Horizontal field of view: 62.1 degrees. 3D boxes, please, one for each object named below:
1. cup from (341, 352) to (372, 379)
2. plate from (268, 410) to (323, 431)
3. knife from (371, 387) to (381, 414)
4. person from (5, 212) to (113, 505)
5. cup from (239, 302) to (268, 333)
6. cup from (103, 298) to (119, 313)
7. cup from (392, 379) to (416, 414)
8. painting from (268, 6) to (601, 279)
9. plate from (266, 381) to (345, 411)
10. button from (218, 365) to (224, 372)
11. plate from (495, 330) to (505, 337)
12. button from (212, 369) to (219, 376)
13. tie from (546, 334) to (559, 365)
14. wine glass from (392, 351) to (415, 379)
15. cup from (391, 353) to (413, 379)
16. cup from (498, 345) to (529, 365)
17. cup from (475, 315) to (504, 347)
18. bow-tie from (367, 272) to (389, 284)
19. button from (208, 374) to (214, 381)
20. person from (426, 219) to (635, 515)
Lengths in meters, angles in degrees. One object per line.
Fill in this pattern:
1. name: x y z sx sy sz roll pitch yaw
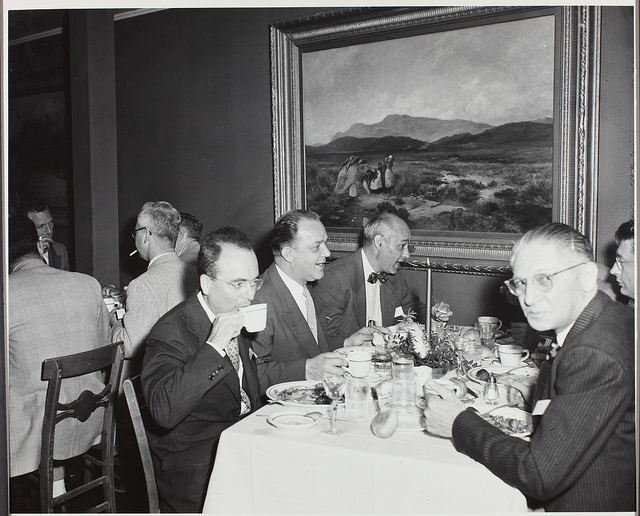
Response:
1. cup: 0.172 0.497 2.464 0.133 0.100 0.093 -2 -1 24
2. plate: -0.098 0.619 2.041 0.209 0.032 0.200 -2 6 3
3. knife: 0.231 0.594 2.230 0.018 0.020 0.093 -1 40 -23
4. person: -1.360 0.525 2.708 0.513 1.533 0.854 -5 7 -19
5. cup: -0.279 0.251 2.258 0.129 0.093 0.088 -9 -6 37
6. cup: -1.491 0.336 3.795 0.132 0.053 0.102 13 23 3
7. cup: 0.342 0.570 2.181 0.112 0.124 0.111 2 -7 0
8. painting: 0.893 -0.869 3.867 2.177 1.803 0.089 4 9 36
9. plate: -0.102 0.585 2.296 0.258 0.043 0.358 -3 6 -6
10. button: -0.396 0.439 2.127 0.023 0.026 0.004 -7 8 -37
11. plate: 1.173 0.491 3.481 0.044 0.007 0.045 3 17 9
12. button: -0.417 0.454 2.113 0.025 0.008 0.034 1 2 3
13. tie: 1.032 0.404 2.374 0.025 0.071 0.236 -16 -31 2
14. wine glass: 0.379 0.488 2.414 0.098 0.104 0.107 -1 -4 3
15. cup: 0.360 0.497 2.413 0.130 0.145 0.127 0 -11 0
16. cup: 1.025 0.511 2.823 0.137 0.069 0.101 -1 -2 -1
17. cup: 1.024 0.451 3.193 0.168 0.175 0.106 -2 -6 1
18. bow-tie: 0.416 0.134 3.847 0.099 0.037 0.072 -25 48 -32
19. button: -0.430 0.472 2.104 0.024 0.024 0.005 -7 8 -35
20. person: 0.742 0.356 1.757 0.624 0.933 0.414 -3 6 -8
